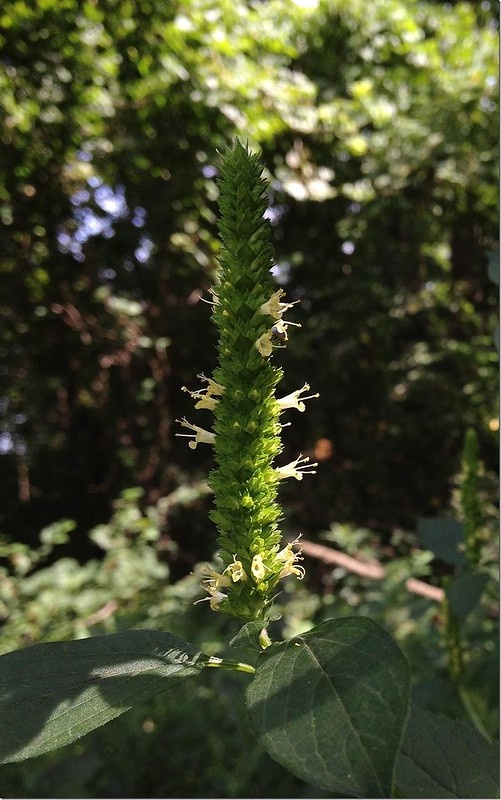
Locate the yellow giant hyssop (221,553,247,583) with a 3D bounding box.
[{"bbox_3d":[-0.022,0.221,0.966,0.036,0.046,0.021,-6,-15,24],"label":"yellow giant hyssop"}]

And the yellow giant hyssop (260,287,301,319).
[{"bbox_3d":[0.030,-0.124,0.967,0.057,0.036,0.024,-17,22,38],"label":"yellow giant hyssop"}]

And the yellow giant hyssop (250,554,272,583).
[{"bbox_3d":[0.015,0.222,0.938,0.035,0.031,0.012,2,-12,-16],"label":"yellow giant hyssop"}]

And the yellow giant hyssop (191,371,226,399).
[{"bbox_3d":[-0.062,-0.021,1.109,0.031,0.034,0.087,-3,-6,-19],"label":"yellow giant hyssop"}]

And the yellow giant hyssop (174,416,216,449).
[{"bbox_3d":[-0.153,0.088,1.934,0.140,0.046,0.049,9,29,-48],"label":"yellow giant hyssop"}]
